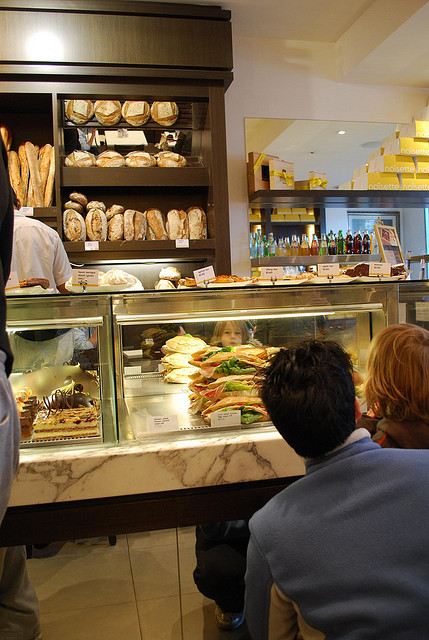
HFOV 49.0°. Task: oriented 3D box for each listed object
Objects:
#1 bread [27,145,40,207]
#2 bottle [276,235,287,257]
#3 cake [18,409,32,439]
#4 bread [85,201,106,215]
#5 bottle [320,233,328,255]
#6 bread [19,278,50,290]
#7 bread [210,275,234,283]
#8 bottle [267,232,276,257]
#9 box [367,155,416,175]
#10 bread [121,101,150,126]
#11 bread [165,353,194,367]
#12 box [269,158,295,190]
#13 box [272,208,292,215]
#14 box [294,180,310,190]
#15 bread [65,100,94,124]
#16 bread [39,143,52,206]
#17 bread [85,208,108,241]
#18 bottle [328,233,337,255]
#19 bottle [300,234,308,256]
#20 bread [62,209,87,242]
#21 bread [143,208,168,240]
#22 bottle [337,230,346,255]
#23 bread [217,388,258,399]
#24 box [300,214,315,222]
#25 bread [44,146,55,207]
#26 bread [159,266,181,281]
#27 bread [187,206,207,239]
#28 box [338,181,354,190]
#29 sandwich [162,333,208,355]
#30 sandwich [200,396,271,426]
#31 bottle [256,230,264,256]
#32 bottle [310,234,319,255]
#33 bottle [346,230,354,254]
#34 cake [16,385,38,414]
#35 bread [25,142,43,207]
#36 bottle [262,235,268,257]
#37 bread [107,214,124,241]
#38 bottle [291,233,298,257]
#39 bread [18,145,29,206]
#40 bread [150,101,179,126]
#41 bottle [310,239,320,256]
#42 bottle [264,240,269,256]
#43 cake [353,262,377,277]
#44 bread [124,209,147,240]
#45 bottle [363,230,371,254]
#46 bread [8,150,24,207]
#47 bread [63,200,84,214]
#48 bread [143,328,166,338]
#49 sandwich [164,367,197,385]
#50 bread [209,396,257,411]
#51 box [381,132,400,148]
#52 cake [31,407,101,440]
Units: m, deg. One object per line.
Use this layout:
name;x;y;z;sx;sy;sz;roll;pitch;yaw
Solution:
bread;-1.156;-0.904;2.987;0.069;0.344;0.038;3;9;1
bottle;0.553;-0.622;3.923;0.084;0.190;0.278;-4;5;9
cake;-0.504;0.283;1.241;0.024;0.048;0.064;-5;5;-7
bread;-0.793;-0.745;3.154;0.096;0.047;0.092;-1;11;1
bottle;0.926;-0.634;3.998;0.062;0.161;0.126;-3;4;15
bread;-0.529;-0.106;1.386;0.075;0.034;0.138;-5;5;-13
bread;0.031;-0.142;1.649;0.075;0.023;0.170;-4;5;4
bottle;0.470;-0.631;3.916;0.067;0.206;0.220;-4;4;8
box;1.477;-1.275;3.866;0.223;0.101;0.221;-1;9;-8
bread;-0.534;-1.399;3.181;0.192;0.145;0.070;-5;4;-11
bread;-0.110;0.131;1.516;0.103;0.047;0.027;-1;5;32
box;0.553;-1.153;3.746;0.228;0.257;0.162;-5;4;-14
box;0.581;-0.929;4.029;0.163;0.057;0.024;-5;4;-11
box;0.734;-1.131;3.952;0.114;0.108;0.059;1;12;9
bread;-0.881;-1.348;3.063;0.146;0.141;0.074;-5;15;-22
bread;-1.059;-0.960;3.039;0.067;0.329;0.082;3;-8;3
bread;-0.769;-0.613;3.072;0.120;0.214;0.069;-6;3;-17
bottle;1.006;-0.646;3.992;0.051;0.175;0.118;-1;5;40
bottle;0.752;-0.635;3.979;0.067;0.200;0.345;-4;5;11
bread;-0.897;-0.602;3.009;0.133;0.209;0.068;-11;5;-19
bread;-0.404;-0.641;3.201;0.130;0.236;0.086;-13;-15;-9
bottle;1.095;-0.672;4.077;0.065;0.205;0.130;-3;5;22
bread;0.066;0.208;1.352;0.112;0.029;0.085;-2;-2;15
box;0.811;-0.890;4.120;0.148;0.069;0.036;-7;5;-33
bread;-1.067;-0.921;3.022;0.079;0.379;0.080;-5;4;-11
bread;-0.307;-0.314;3.213;0.112;0.069;0.114;0;8;-16
bread;-0.122;-0.682;3.297;0.133;0.216;0.071;-14;1;-10
box;1.159;-1.172;4.123;0.116;0.082;0.118;-1;6;13
sandwich;-0.101;0.080;1.497;0.101;0.027;0.074;-10;25;13
sandwich;0.063;0.252;1.317;0.204;0.067;0.155;-1;1;-5
bottle;0.371;-0.634;3.870;0.062;0.221;0.129;-4;4;5
bottle;0.826;-0.607;3.923;0.065;0.128;0.036;-4;4;9
bottle;1.169;-0.673;4.074;0.067;0.211;0.193;-3;4;14
cake;-0.532;0.226;1.334;0.063;0.060;0.021;13;-32;-42
bread;-1.130;-0.897;2.965;0.084;0.443;0.070;-7;-1;4
bottle;0.413;-0.614;3.878;0.036;0.179;0.142;-4;4;6
bread;-0.650;-0.610;3.109;0.048;0.162;0.116;4;5;44
bottle;0.675;-0.643;3.986;0.052;0.200;0.253;-4;5;11
bread;-1.208;-0.909;3.008;0.076;0.388;0.099;-3;3;-25
bread;-0.348;-1.419;3.231;0.190;0.141;0.083;-5;4;-6
bottle;0.850;-0.612;3.959;0.138;0.128;0.069;-8;6;-40
bottle;0.423;-0.581;3.830;0.031;0.120;0.034;-4;4;0
cake;0.577;-0.199;1.857;0.064;0.064;0.018;8;-11;-1
bread;-0.532;-0.634;3.146;0.111;0.225;0.071;23;-27;-34
bottle;1.316;-0.662;4.081;0.081;0.159;0.037;-6;5;-26
bread;-1.257;-0.906;2.985;0.066;0.409;0.318;-6;5;-20
bread;-0.924;-0.730;3.051;0.090;0.064;0.107;21;-2;-4
bread;-0.190;0.041;1.475;0.072;0.033;0.037;-6;5;-18
sandwich;-0.110;0.188;1.495;0.063;0.016;0.067;-15;11;13
bread;0.046;0.232;1.330;0.079;0.021;0.051;-6;5;22
box;1.495;-1.529;3.994;0.072;0.086;0.252;1;-3;-11
cake;-0.409;0.282;1.305;0.187;0.045;0.117;-5;5;-8
